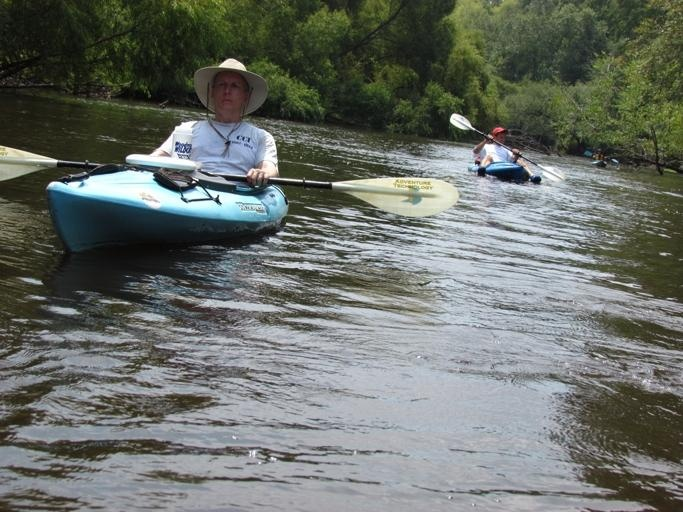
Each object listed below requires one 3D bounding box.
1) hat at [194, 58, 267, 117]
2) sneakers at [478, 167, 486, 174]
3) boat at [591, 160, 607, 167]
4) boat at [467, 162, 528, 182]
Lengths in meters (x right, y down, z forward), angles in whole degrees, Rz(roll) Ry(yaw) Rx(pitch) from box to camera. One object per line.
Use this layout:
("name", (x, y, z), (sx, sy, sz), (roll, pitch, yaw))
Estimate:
("hat", (-1.199, -2.036, 9.495), (0.973, 0.759, 0.256), (4, 58, 1))
("sneakers", (3.059, -1.827, 17.887), (0.213, 0.126, 0.167), (-4, 16, -17))
("boat", (9.805, -3.456, 31.279), (0.464, 0.158, 1.078), (1, 1, 8))
("boat", (3.433, -1.798, 17.757), (1.196, 0.444, 0.828), (6, 17, 7))
